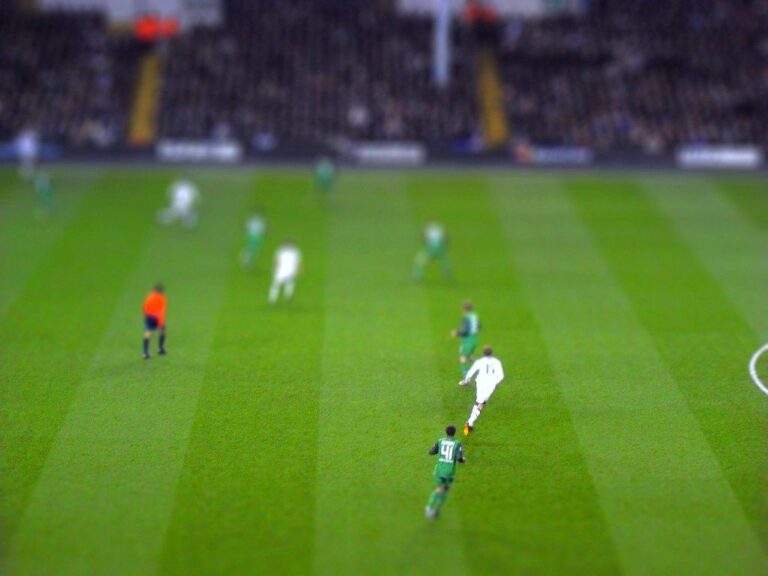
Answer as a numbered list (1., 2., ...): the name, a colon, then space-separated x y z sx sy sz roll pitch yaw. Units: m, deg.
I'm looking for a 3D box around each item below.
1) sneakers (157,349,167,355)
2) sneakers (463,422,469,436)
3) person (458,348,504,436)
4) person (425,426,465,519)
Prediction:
1. sneakers: -5.609 1.651 19.385 0.247 0.195 0.092 -6 19 -24
2. sneakers: 1.785 3.080 16.657 0.142 0.225 0.096 1 23 16
3. person: 2.172 2.120 16.904 0.863 1.997 0.735 17 1 6
4. person: 1.144 3.335 14.589 0.702 1.960 1.151 1 18 3
